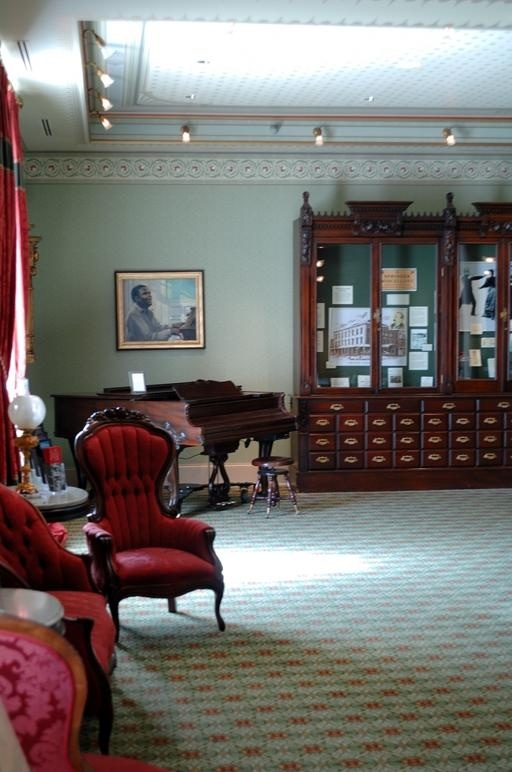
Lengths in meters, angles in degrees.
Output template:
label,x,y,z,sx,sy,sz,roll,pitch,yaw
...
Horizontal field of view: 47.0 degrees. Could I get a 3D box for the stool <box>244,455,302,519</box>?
label,x,y,z,sx,sy,sz,roll,pitch,yaw
stool,0.149,0.967,5.808,0.512,0.713,0.504,2,-2,-32

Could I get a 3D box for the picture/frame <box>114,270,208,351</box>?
label,x,y,z,sx,sy,sz,roll,pitch,yaw
picture/frame,-1.124,-0.867,6.607,0.952,0.861,0.066,-1,3,-3

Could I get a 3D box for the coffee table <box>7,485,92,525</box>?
label,x,y,z,sx,sy,sz,roll,pitch,yaw
coffee table,-1.032,0.583,2.902,0.360,0.078,0.354,1,1,-23
